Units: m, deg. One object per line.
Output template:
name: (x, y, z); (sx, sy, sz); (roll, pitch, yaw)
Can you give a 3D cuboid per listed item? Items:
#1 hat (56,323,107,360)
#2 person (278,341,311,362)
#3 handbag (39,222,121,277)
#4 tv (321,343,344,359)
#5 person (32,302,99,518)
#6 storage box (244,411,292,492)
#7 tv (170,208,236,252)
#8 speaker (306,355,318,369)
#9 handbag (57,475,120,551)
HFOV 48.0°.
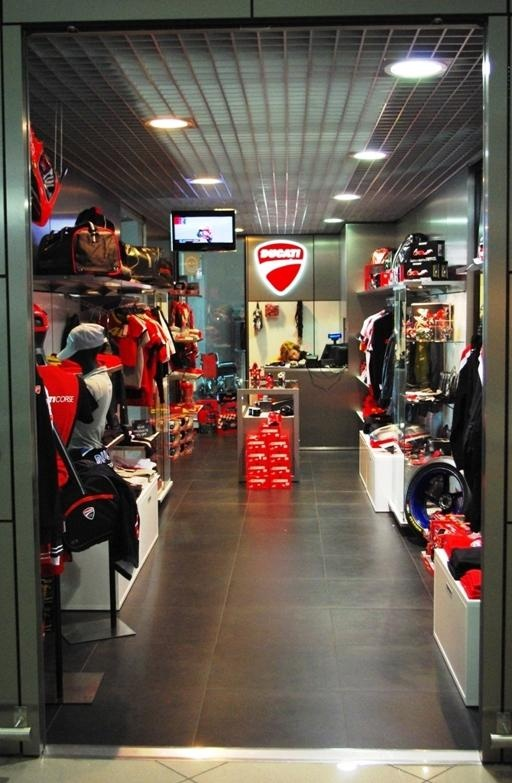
hat: (-0.959, -0.296, 3.164); (0.244, 0.154, 0.169); (-19, 25, -10)
person: (0.556, -0.618, 8.860); (0.383, 0.365, 0.767); (1, 2, 4)
handbag: (-1.068, -0.852, 3.469); (0.422, 0.317, 0.335); (6, 13, 38)
tv: (1.205, -0.623, 8.669); (0.369, 0.215, 0.372); (-2, 4, 32)
person: (-0.775, 0.037, 2.311); (0.208, 0.774, 0.774); (0, 2, -18)
storage box: (0.145, 0.635, 6.263); (0.516, 0.789, 0.390); (1, 2, 1)
tv: (-0.554, -1.725, 6.104); (0.539, 0.402, 0.064); (0, 4, 3)
speaker: (0.825, -0.445, 8.413); (0.163, 0.181, 0.167); (0, -2, -3)
handbag: (-0.709, 0.521, 2.439); (0.211, 0.308, 0.101); (2, -15, -37)
